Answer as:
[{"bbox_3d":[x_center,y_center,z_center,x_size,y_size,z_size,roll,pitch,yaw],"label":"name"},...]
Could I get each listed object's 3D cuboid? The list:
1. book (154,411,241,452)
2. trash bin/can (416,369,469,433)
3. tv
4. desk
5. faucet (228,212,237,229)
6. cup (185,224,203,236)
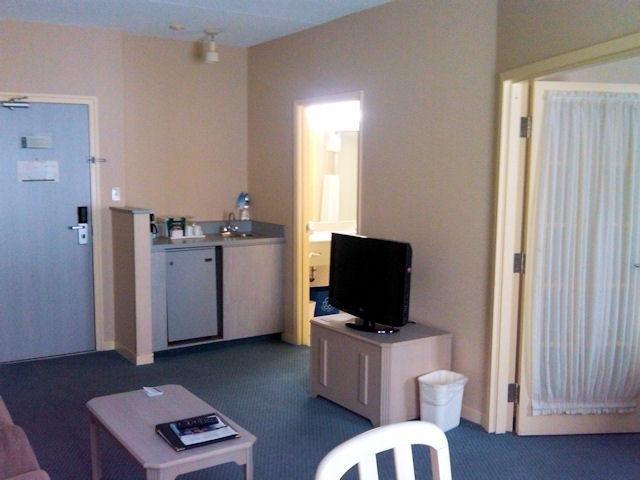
[{"bbox_3d":[-0.640,0.974,2.723,0.379,0.055,0.277,-5,11,-25],"label":"book"},{"bbox_3d":[0.863,1.137,3.749,0.331,0.324,0.332,-3,4,-19],"label":"trash bin/can"},{"bbox_3d":[0.366,0.324,3.996,0.218,0.676,0.845,-1,4,-37],"label":"tv"},{"bbox_3d":[0.427,0.992,4.135,0.709,0.568,0.970,2,1,-33],"label":"desk"},{"bbox_3d":[-0.987,-0.216,5.897,0.105,0.172,0.191,-2,11,-9],"label":"faucet"},{"bbox_3d":[-1.297,-0.097,5.397,0.201,0.134,0.142,-6,12,-31],"label":"cup"}]
